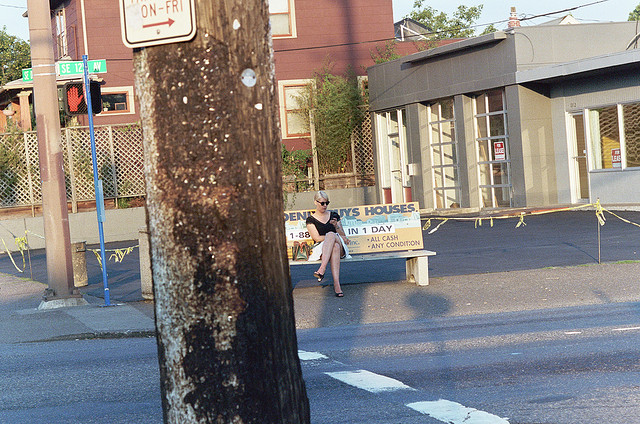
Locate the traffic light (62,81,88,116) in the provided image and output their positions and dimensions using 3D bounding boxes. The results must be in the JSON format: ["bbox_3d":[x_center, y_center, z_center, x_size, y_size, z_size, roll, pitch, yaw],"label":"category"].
[{"bbox_3d":[-5.493,-2.546,27.377,0.522,0.719,0.297,-4,12,-9],"label":"traffic light"}]

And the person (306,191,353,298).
[{"bbox_3d":[0.176,0.646,27.393,0.950,2.276,1.033,3,13,24],"label":"person"}]

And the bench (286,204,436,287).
[{"bbox_3d":[0.688,0.793,27.535,3.515,1.722,1.360,-4,7,-4],"label":"bench"}]

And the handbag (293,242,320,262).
[{"bbox_3d":[-0.327,0.907,27.258,0.332,0.524,0.709,13,-9,-17],"label":"handbag"}]
